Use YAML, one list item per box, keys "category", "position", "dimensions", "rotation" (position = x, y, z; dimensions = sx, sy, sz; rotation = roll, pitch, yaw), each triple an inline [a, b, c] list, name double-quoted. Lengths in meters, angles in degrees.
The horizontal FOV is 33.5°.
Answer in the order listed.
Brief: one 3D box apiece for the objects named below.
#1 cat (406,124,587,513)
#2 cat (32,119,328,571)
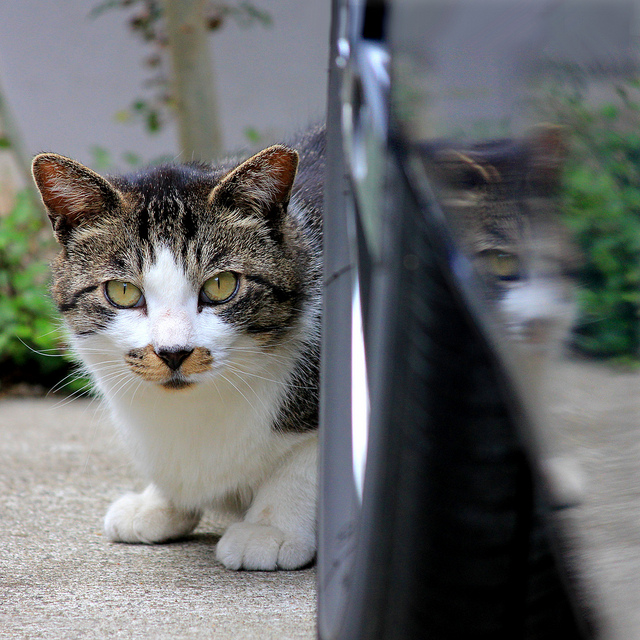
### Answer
- category: "cat"
  position: [0.255, 0.019, 1.507]
  dimensions: [0.146, 0.304, 0.521]
  rotation: [-11, 61, 9]
- category: "cat"
  position: [-0.257, 0.058, 2.117]
  dimensions: [0.545, 0.801, 0.674]
  rotation: [-4, 30, 6]
